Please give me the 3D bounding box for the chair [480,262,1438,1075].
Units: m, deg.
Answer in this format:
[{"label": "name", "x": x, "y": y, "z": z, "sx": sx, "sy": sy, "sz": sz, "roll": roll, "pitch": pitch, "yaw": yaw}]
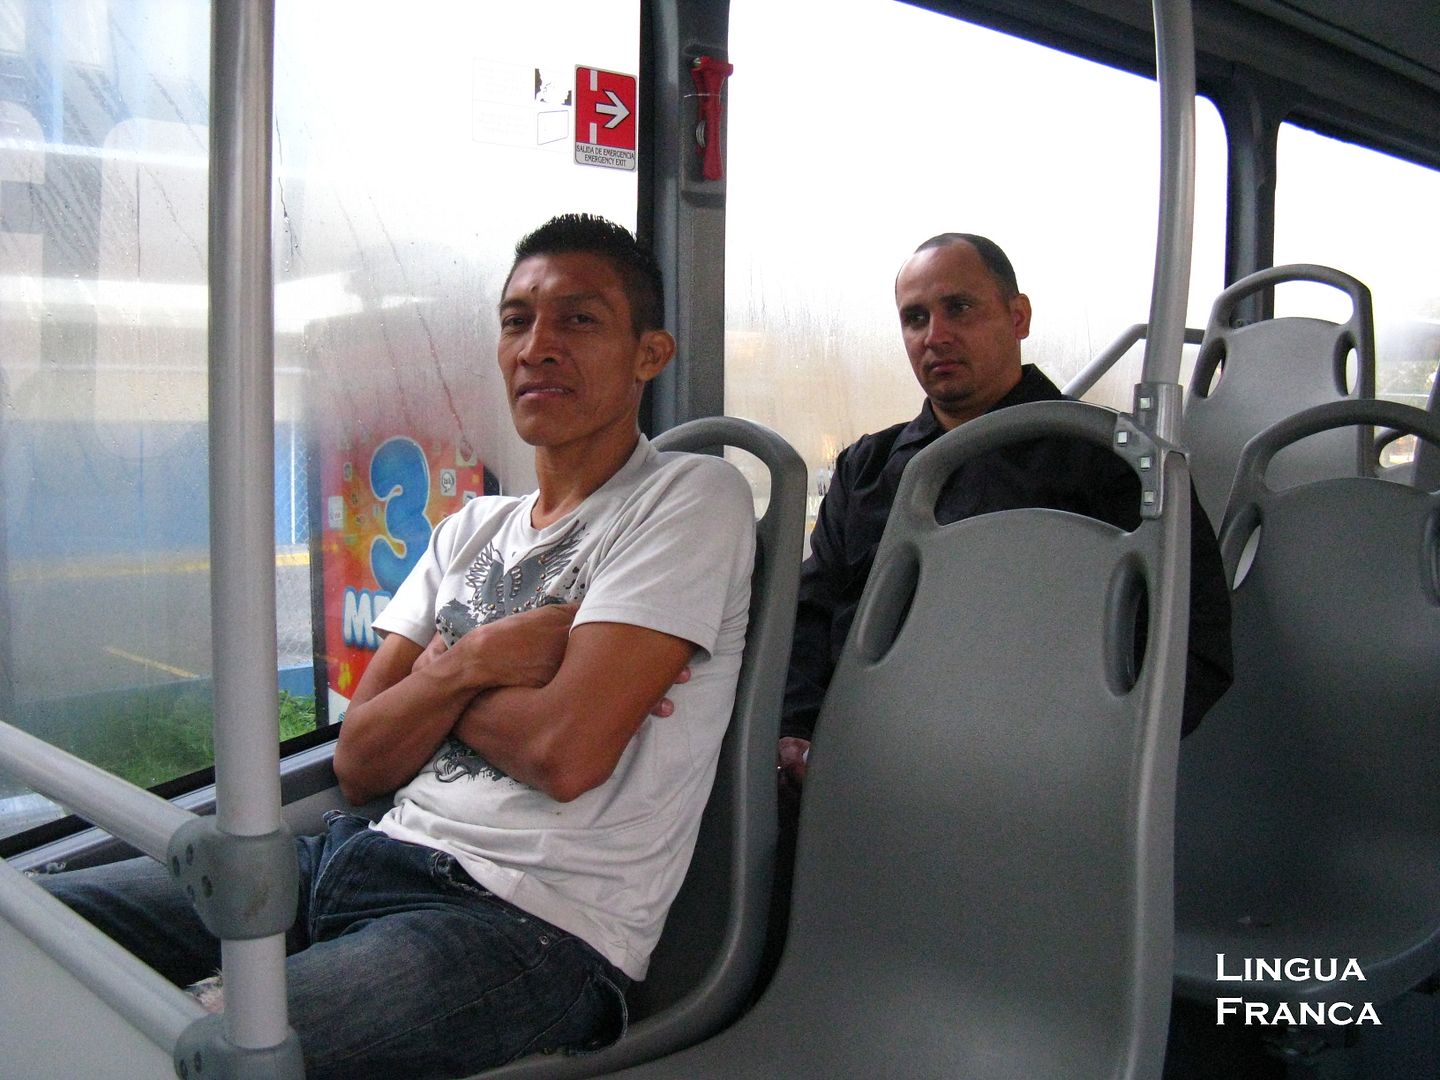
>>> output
[{"label": "chair", "x": 0.321, "y": 0.059, "z": 1.754, "sx": 0.889, "sy": 1.058, "sz": 1.539, "roll": 6, "pitch": 12, "yaw": 23}]
